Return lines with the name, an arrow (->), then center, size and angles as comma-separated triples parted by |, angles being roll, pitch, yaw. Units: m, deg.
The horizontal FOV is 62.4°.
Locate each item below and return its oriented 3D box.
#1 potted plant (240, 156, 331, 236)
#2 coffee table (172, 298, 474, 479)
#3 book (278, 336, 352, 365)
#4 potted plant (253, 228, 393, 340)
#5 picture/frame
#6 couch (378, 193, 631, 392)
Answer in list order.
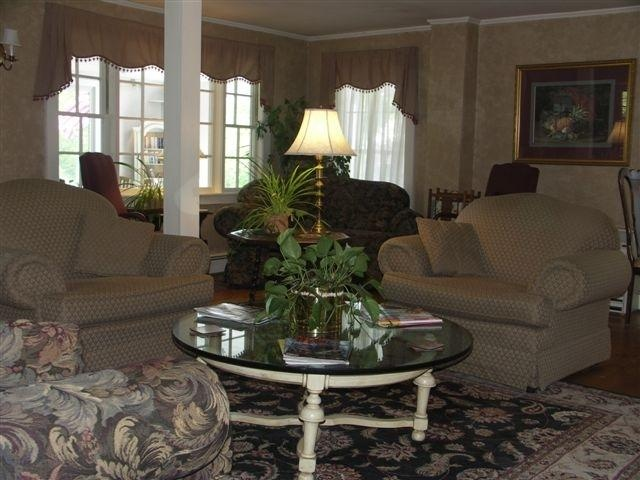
potted plant -> -0.412, -0.386, 4.522 | 0.852, 0.519, 1.047 | 2, -1, 15
coffee table -> -0.028, 0.453, 2.004 | 0.863, 0.288, 0.787 | -3, 9, -30
book -> -0.017, 0.393, 1.858 | 0.236, 0.031, 0.222 | 2, 7, 3
potted plant -> -0.016, 0.171, 2.266 | 0.559, 0.306, 0.491 | 1, 2, -11
picture/frame -> 2.749, -1.375, 5.777 | 1.251, 1.094, 0.093 | 8, 12, 33
couch -> 1.097, 0.229, 3.463 | 1.233, 1.154, 1.929 | -2, 5, -41
